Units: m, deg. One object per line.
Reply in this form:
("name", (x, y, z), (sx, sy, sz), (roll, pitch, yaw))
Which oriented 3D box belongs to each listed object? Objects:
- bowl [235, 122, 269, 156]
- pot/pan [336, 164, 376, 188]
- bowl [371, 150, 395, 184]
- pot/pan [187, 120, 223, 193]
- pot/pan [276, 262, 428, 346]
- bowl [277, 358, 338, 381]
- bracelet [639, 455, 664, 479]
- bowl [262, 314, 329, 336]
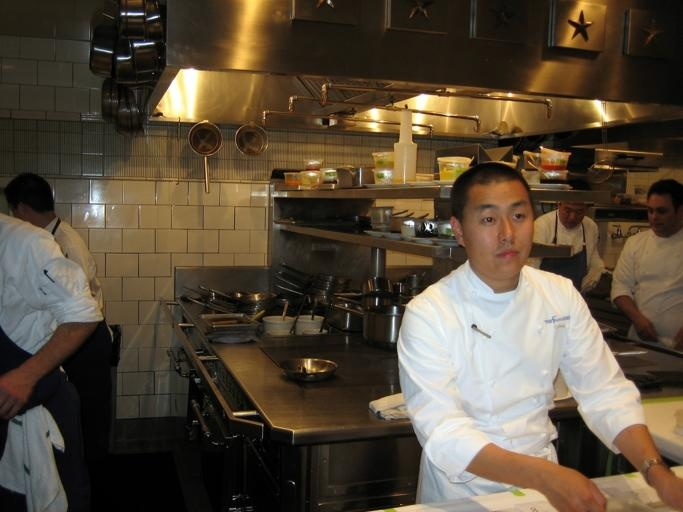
("bowl", (-0.668, -0.851, 4.523), (0.218, 0.203, 0.228), (0, 3, 0))
("pot/pan", (0.072, -0.454, 3.501), (0.155, 0.092, 0.252), (-1, 3, -13))
("bowl", (0.200, -0.419, 2.974), (0.166, 0.169, 0.158), (0, -3, 0))
("pot/pan", (-0.993, -0.758, 4.553), (0.271, 0.471, 0.073), (2, 17, -7))
("pot/pan", (0.095, 0.296, 3.790), (0.785, 0.245, 0.520), (2, 4, -12))
("bowl", (-0.149, 0.505, 2.762), (0.244, 0.070, 0.240), (0, 3, 0))
("bracelet", (0.906, 0.616, 1.800), (0.065, 0.052, 0.043), (0, 3, -8))
("bowl", (-0.288, 0.406, 3.648), (0.256, 0.082, 0.157), (1, 2, -13))
